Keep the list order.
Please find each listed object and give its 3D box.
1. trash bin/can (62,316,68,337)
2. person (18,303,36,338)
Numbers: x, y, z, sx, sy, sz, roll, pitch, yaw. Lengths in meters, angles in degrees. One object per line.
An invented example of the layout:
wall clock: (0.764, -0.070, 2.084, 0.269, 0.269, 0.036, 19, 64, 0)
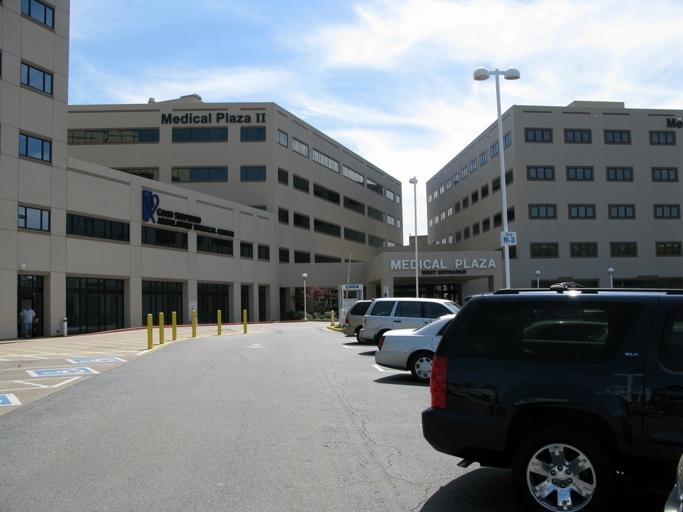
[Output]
trash bin/can: (-16.842, 4.303, 34.270, 0.263, 1.101, 0.440, 2, -5, -31)
person: (-18.010, 3.716, 32.324, 0.744, 1.932, 1.190, 2, -5, -31)
